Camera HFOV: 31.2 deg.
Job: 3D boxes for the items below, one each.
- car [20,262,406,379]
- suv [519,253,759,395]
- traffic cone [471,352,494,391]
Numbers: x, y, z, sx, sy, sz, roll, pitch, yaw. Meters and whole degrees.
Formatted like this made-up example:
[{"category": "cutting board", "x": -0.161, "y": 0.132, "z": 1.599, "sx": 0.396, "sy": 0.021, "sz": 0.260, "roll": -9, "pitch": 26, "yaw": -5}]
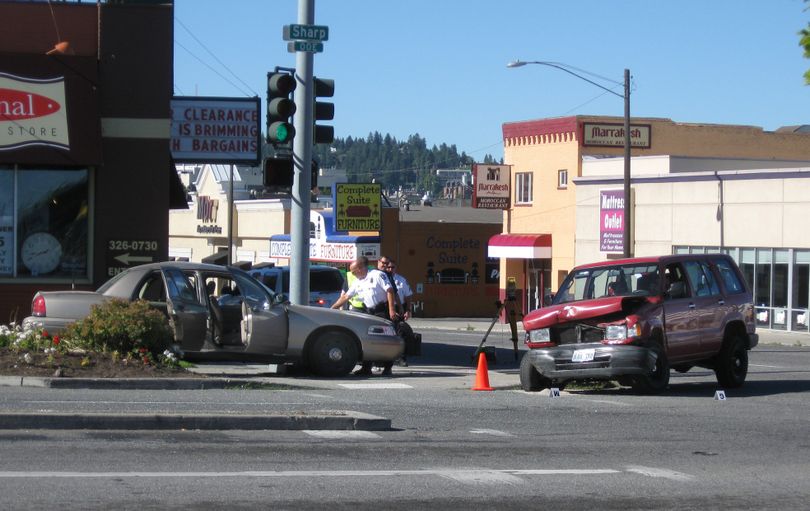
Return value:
[{"category": "car", "x": -4.022, "y": 1.280, "z": 31.772, "sx": 8.091, "sy": 2.196, "sz": 3.606, "roll": 2, "pitch": 3, "yaw": -12}, {"category": "suv", "x": 5.177, "y": 1.477, "z": 31.577, "sx": 3.232, "sy": 2.751, "sz": 5.748, "roll": -5, "pitch": -3, "yaw": 39}, {"category": "traffic cone", "x": 1.542, "y": 2.443, "z": 30.421, "sx": 0.678, "sy": 0.800, "sz": 0.694, "roll": 0, "pitch": -3, "yaw": -13}]
